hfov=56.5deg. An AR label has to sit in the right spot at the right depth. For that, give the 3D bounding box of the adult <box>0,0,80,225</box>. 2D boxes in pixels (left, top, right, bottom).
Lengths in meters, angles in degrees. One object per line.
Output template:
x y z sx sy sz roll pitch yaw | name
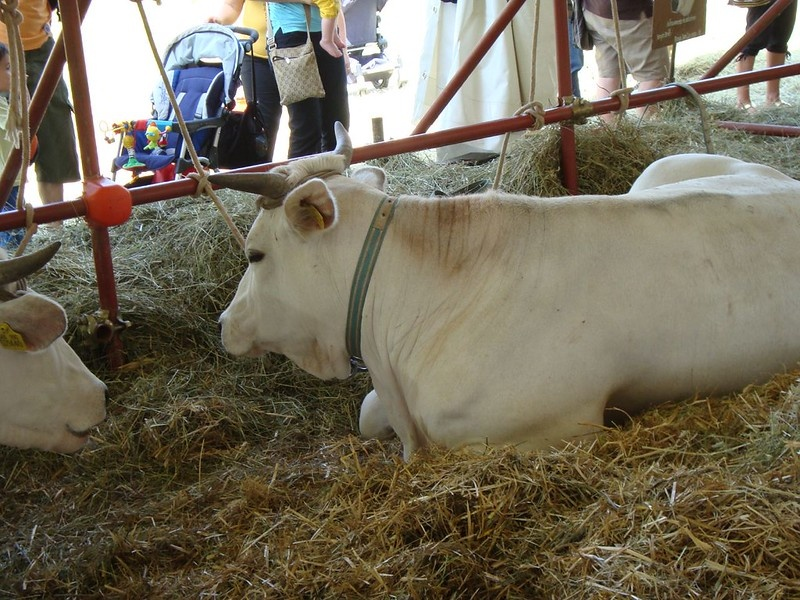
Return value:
-2.635 -1.436 5.530 0.458 1.570 0.483 23 49 0 | adult

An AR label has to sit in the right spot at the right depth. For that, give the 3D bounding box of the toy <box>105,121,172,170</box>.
-2.170 -1.309 6.409 0.490 0.427 0.501 2 29 11 | toy

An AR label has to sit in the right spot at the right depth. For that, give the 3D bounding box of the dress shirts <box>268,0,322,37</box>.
-0.824 -2.122 5.726 0.293 0.288 0.299 18 43 20 | dress shirts

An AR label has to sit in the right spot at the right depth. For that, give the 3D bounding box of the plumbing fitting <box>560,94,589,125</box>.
1.109 -1.190 4.619 0.180 0.160 0.159 -3 3 25 | plumbing fitting
